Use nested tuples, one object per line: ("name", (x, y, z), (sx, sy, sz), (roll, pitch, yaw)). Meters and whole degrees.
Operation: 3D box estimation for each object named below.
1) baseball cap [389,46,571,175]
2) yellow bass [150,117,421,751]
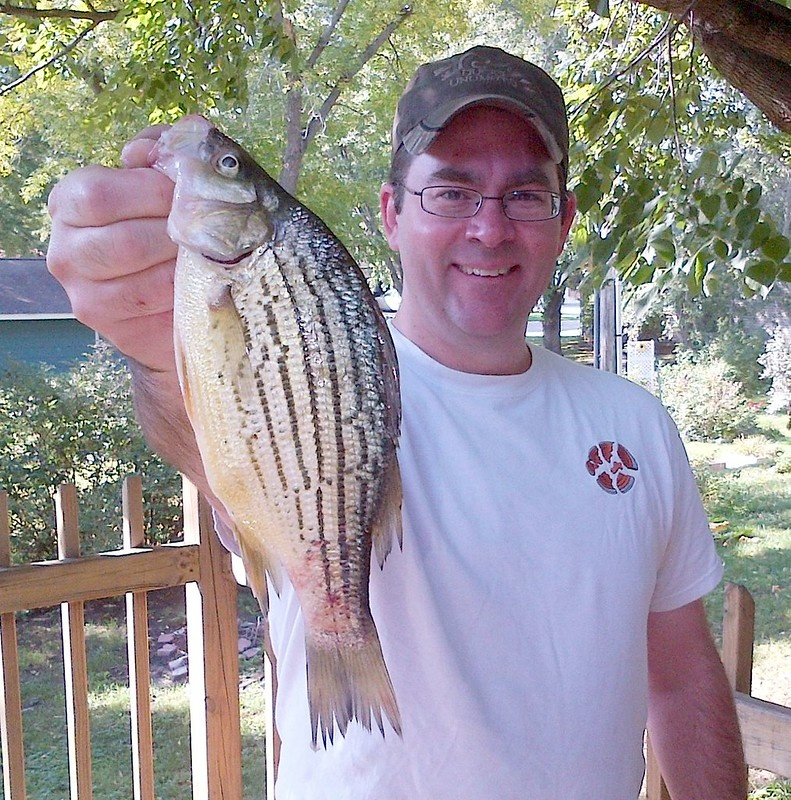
("baseball cap", (0.242, -0.858, 2.722), (0.370, 0.437, 0.344), (3, 42, 0))
("yellow bass", (-0.225, 0.073, 2.056), (0.480, 1.285, 0.154), (-3, 0, -14))
